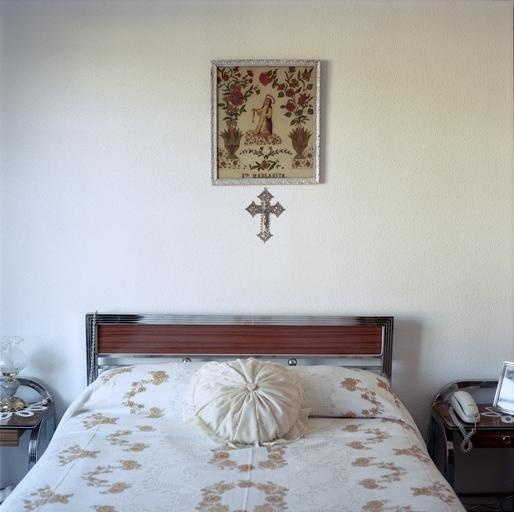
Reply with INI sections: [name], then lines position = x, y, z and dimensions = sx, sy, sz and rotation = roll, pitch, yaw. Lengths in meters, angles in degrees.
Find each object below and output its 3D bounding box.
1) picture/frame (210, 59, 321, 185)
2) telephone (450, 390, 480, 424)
[picture/frame]
position = 0.047, -0.728, 2.765
dimensions = 0.732, 0.726, 0.052
rotation = 0, -3, -1
[telephone]
position = 1.005, 0.693, 2.513
dimensions = 0.115, 0.070, 0.195
rotation = -7, 21, 5
